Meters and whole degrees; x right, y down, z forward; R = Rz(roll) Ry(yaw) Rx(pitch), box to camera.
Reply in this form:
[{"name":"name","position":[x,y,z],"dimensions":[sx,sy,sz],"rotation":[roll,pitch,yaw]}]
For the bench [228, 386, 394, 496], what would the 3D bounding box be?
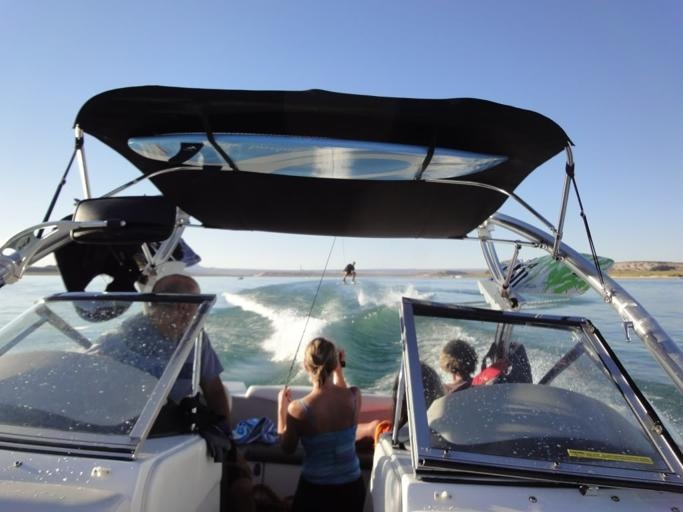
[{"name":"bench","position":[-0.251,1.398,3.214],"dimensions":[1.082,0.457,0.593],"rotation":[3,-50,3]}]
